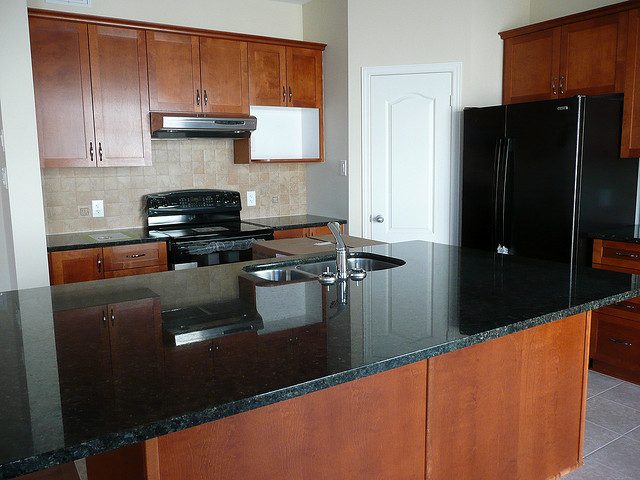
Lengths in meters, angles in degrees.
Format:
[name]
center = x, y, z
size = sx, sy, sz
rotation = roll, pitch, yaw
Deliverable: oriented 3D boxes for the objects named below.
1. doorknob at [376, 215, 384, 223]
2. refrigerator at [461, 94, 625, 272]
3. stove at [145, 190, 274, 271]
[doorknob]
center = 0.512, -0.182, 4.303
size = 0.058, 0.052, 0.050
rotation = -1, 10, -5
[refrigerator]
center = 1.587, -0.456, 3.746
size = 1.062, 1.156, 0.458
rotation = 9, 16, 38
[stove]
center = -0.905, -0.124, 4.075
size = 0.883, 0.511, 0.748
rotation = -7, 14, -26
